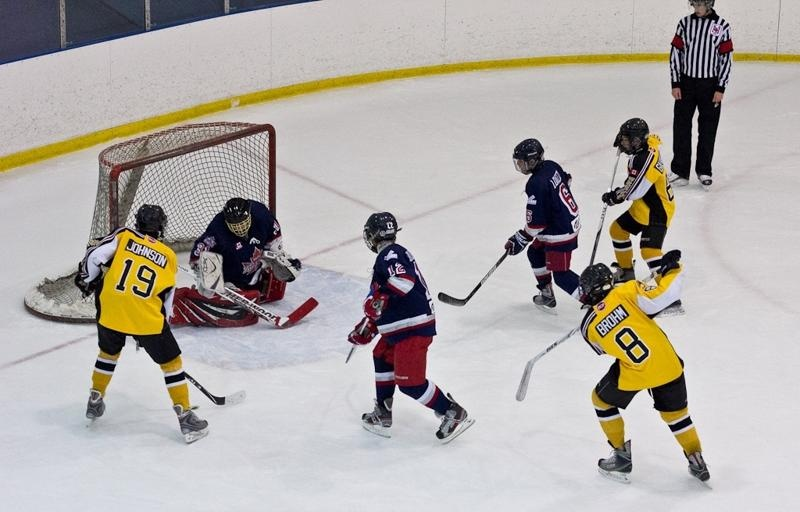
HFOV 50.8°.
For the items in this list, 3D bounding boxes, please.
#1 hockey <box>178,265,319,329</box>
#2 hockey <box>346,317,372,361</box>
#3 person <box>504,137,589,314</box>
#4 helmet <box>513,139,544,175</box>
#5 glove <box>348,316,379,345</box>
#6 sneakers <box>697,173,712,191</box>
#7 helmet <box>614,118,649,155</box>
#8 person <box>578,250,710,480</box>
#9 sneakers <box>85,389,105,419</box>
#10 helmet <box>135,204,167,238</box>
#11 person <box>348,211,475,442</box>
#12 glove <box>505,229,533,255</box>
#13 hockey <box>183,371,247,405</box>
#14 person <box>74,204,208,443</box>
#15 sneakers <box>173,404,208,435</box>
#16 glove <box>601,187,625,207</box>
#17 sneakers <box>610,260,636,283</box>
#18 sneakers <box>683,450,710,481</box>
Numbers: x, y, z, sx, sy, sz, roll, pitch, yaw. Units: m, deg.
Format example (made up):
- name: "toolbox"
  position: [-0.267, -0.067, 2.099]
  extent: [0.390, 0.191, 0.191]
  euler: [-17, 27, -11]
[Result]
- name: "hockey"
  position: [-1.154, 0.341, 6.100]
  extent: [1.439, 0.382, 0.369]
  euler: [8, 5, -33]
- name: "hockey"
  position: [-0.270, 0.478, 5.107]
  extent: [0.219, 0.112, 0.403]
  euler: [4, 14, -5]
- name: "person"
  position: [1.035, -0.208, 6.171]
  extent: [0.529, 1.277, 0.409]
  euler: [-1, 19, 7]
- name: "helmet"
  position: [0.931, -0.699, 6.070]
  extent: [0.194, 0.267, 0.229]
  euler: [0, 19, 11]
- name: "glove"
  position: [-0.234, 0.457, 5.125]
  extent: [0.198, 0.140, 0.085]
  euler: [-36, 34, 18]
- name: "sneakers"
  position: [2.849, -0.686, 7.955]
  extent: [0.130, 0.150, 0.160]
  euler: [-11, -1, -6]
- name: "helmet"
  position: [1.714, -0.902, 6.290]
  extent: [0.303, 0.272, 0.236]
  euler: [-6, 43, 10]
- name: "person"
  position: [1.389, 0.668, 4.797]
  extent: [0.710, 1.248, 0.428]
  euler: [0, 20, 11]
- name: "sneakers"
  position: [-1.885, 0.928, 5.238]
  extent: [0.082, 0.145, 0.226]
  euler: [3, 16, -2]
- name: "helmet"
  position: [-1.518, -0.214, 5.218]
  extent: [0.179, 0.197, 0.216]
  euler: [6, 13, -6]
- name: "person"
  position: [0.054, 0.437, 5.086]
  extent: [0.731, 1.367, 0.413]
  euler: [-1, 19, 8]
- name: "glove"
  position: [0.870, -0.097, 6.208]
  extent: [0.226, 0.126, 0.074]
  euler: [-43, -14, 33]
- name: "hockey"
  position: [-1.183, 0.896, 5.384]
  extent: [0.279, 0.080, 0.278]
  euler: [39, 17, 13]
- name: "person"
  position: [-1.560, 0.415, 5.157]
  extent: [0.773, 1.374, 0.462]
  euler: [1, 20, 15]
- name: "sneakers"
  position: [-1.216, 0.999, 5.125]
  extent: [0.285, 0.171, 0.107]
  euler: [-1, 10, -25]
- name: "glove"
  position: [1.599, -0.433, 6.306]
  extent: [0.161, 0.058, 0.111]
  euler: [-17, 10, 15]
- name: "sneakers"
  position: [1.564, 0.112, 5.888]
  extent: [0.185, 0.156, 0.137]
  euler: [-2, 6, -4]
- name: "sneakers"
  position: [1.671, 1.188, 4.736]
  extent: [0.084, 0.105, 0.228]
  euler: [-17, 55, 2]
